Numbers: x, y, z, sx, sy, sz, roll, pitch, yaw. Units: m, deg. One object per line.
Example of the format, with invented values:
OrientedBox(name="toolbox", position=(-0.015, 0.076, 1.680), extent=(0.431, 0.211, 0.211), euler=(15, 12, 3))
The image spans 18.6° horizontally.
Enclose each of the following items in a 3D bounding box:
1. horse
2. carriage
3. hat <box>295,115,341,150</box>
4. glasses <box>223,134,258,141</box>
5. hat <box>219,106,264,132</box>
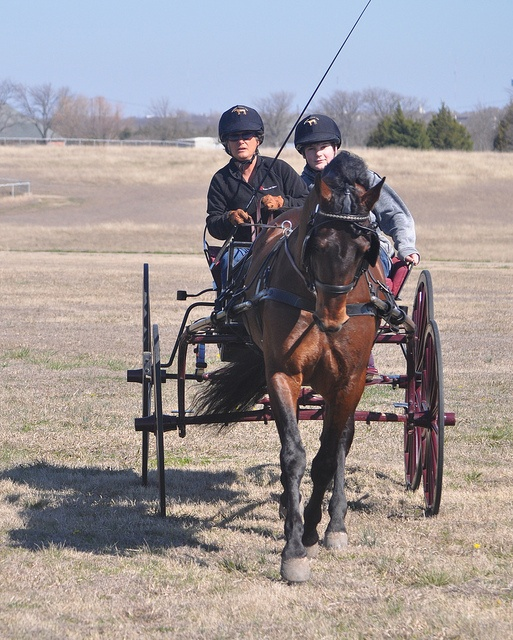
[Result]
OrientedBox(name="horse", position=(0.335, 0.202, 12.565), extent=(1.379, 3.225, 2.521), euler=(-2, 10, -11))
OrientedBox(name="carriage", position=(0.411, 0.367, 12.974), extent=(1.947, 2.524, 3.527), euler=(1, -4, -2))
OrientedBox(name="hat", position=(0.519, -1.636, 13.689), extent=(0.408, 0.320, 0.351), euler=(-1, 10, -4))
OrientedBox(name="glasses", position=(-0.147, -1.622, 13.797), extent=(0.287, 0.085, 0.117), euler=(-1, 10, -2))
OrientedBox(name="hat", position=(-0.153, -1.768, 13.779), extent=(0.376, 0.243, 0.269), euler=(-1, 10, -2))
